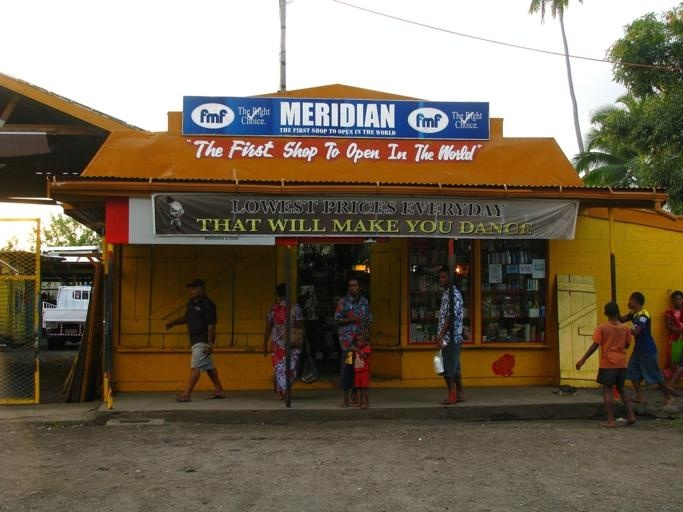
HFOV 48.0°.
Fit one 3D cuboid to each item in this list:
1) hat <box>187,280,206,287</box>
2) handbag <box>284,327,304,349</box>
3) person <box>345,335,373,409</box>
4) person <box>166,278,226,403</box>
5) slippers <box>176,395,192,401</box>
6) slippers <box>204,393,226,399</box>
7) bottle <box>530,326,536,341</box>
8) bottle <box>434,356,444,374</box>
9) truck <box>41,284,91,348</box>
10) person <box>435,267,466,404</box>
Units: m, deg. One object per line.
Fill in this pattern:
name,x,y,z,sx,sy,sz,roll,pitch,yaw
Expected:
hat,-2.519,0.485,13.149,0.259,0.127,0.191,6,-3,-2
handbag,-0.821,1.392,13.027,0.277,0.440,0.467,-7,-9,43
person,0.298,1.889,12.598,0.289,1.143,0.439,0,3,-2
person,-2.513,1.445,13.345,0.905,2.072,1.119,0,3,-12
slippers,-2.672,2.397,12.883,0.201,0.084,0.114,8,-7,-22
slippers,-2.207,2.427,13.290,0.339,0.134,0.129,3,-2,4
bottle,3.684,1.505,14.792,0.115,0.250,0.069,0,3,0
bottle,1.620,1.832,12.759,0.140,0.311,0.242,1,3,10
truck,-9.547,2.154,26.553,1.465,2.078,1.346,-1,3,-18
person,1.883,1.355,13.214,0.445,2.245,1.255,1,3,9
